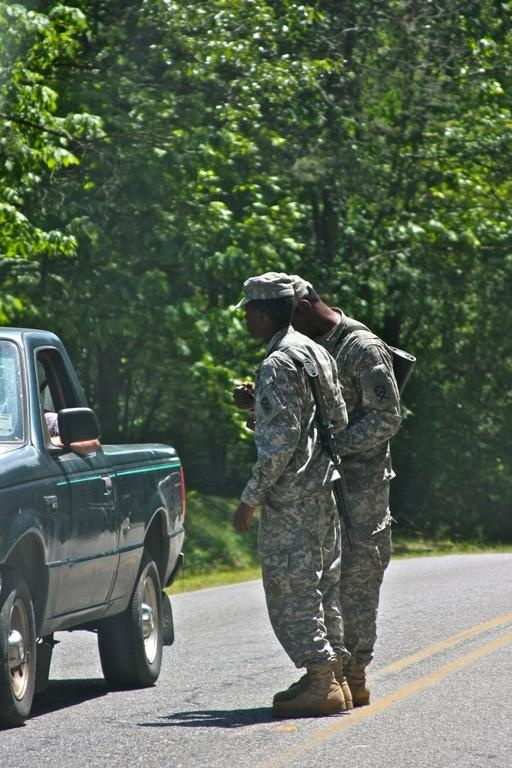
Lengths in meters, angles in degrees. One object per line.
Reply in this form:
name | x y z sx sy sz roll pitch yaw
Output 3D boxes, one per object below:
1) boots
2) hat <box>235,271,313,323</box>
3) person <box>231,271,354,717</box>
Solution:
boots | 0.373 1.449 5.543 0.454 0.195 0.272 1 -4 -29
hat | 0.108 -0.419 5.497 0.275 0.106 0.195 -7 10 -9
person | 0.197 0.545 5.392 0.689 2.078 0.495 5 6 -2
